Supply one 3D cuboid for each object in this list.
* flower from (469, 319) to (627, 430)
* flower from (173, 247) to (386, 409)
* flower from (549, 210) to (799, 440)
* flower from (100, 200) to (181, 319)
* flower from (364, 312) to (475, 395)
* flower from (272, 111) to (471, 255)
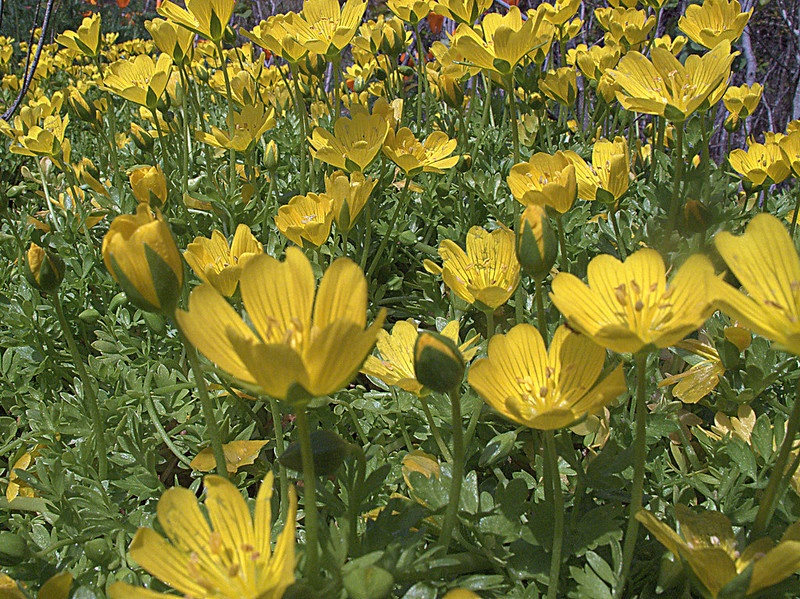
[{"bbox_3d":[0.289,0.169,1.353,0.235,0.120,0.245,-3,40,-10],"label":"flower"},{"bbox_3d":[-0.206,0.056,1.183,0.271,0.161,0.310,-32,49,-17],"label":"flower"},{"bbox_3d":[0.445,0.001,1.311,0.358,0.465,0.391,-10,42,10],"label":"flower"},{"bbox_3d":[-0.504,-0.060,1.419,0.115,0.255,0.142,4,38,18],"label":"flower"},{"bbox_3d":[0.038,0.160,1.688,0.202,0.111,0.215,-24,30,34],"label":"flower"},{"bbox_3d":[-0.141,-0.405,2.106,0.675,0.267,0.423,-33,34,-27],"label":"flower"}]
